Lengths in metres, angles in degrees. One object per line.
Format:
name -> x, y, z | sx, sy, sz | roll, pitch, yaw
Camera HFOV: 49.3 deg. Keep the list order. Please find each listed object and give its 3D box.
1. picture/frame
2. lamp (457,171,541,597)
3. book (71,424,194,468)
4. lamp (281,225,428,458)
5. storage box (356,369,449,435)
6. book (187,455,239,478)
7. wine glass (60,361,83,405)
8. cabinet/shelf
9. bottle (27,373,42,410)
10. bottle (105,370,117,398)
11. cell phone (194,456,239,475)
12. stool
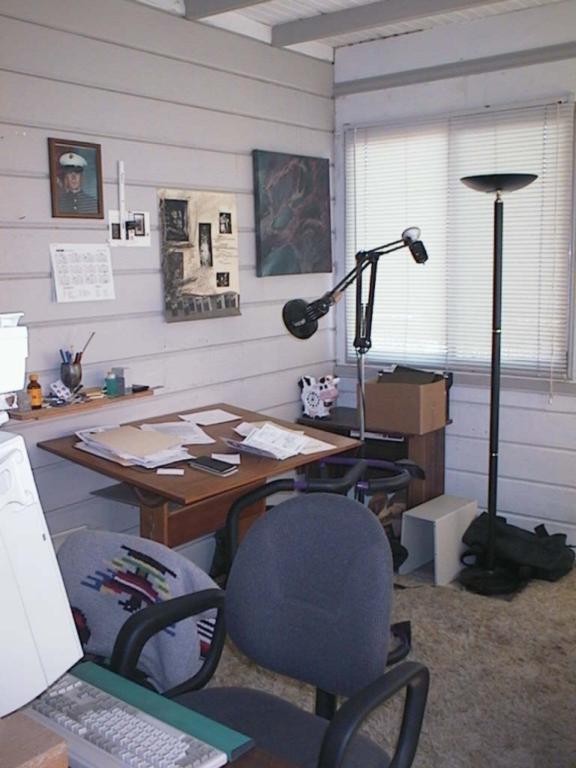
picture/frame -> -0.848, -0.820, 2.490 | 0.029, 0.392, 0.333 | 6, 11, 34
lamp -> 1.055, -0.020, 3.136 | 0.342, 1.989, 0.678 | 1, 8, 26
book -> -0.553, 0.230, 2.334 | 0.244, 0.041, 0.182 | 14, 13, 28
lamp -> 0.288, -0.187, 3.125 | 0.608, 1.035, 0.910 | -2, 7, -1
storage box -> 0.610, 0.053, 3.305 | 0.347, 0.256, 0.365 | 4, 9, 40
book -> -0.259, 0.287, 2.208 | 0.100, 0.023, 0.076 | 12, 15, 33
wine glass -> -0.856, -0.012, 2.496 | 0.079, 0.156, 0.121 | -5, 8, -20
cabinet/shelf -> 0.470, 0.340, 3.618 | 0.781, 0.733, 0.473 | 4, 5, 37
bottle -> -0.957, 0.025, 2.386 | 0.056, 0.128, 0.174 | -5, 8, -21
bottle -> -0.744, -0.002, 2.650 | 0.060, 0.103, 0.120 | -5, 8, -16
cell phone -> -0.253, 0.274, 2.200 | 0.091, 0.021, 0.069 | 9, 13, 32
stool -> 0.756, 0.800, 3.221 | 0.254, 0.402, 0.467 | 3, 5, 40
